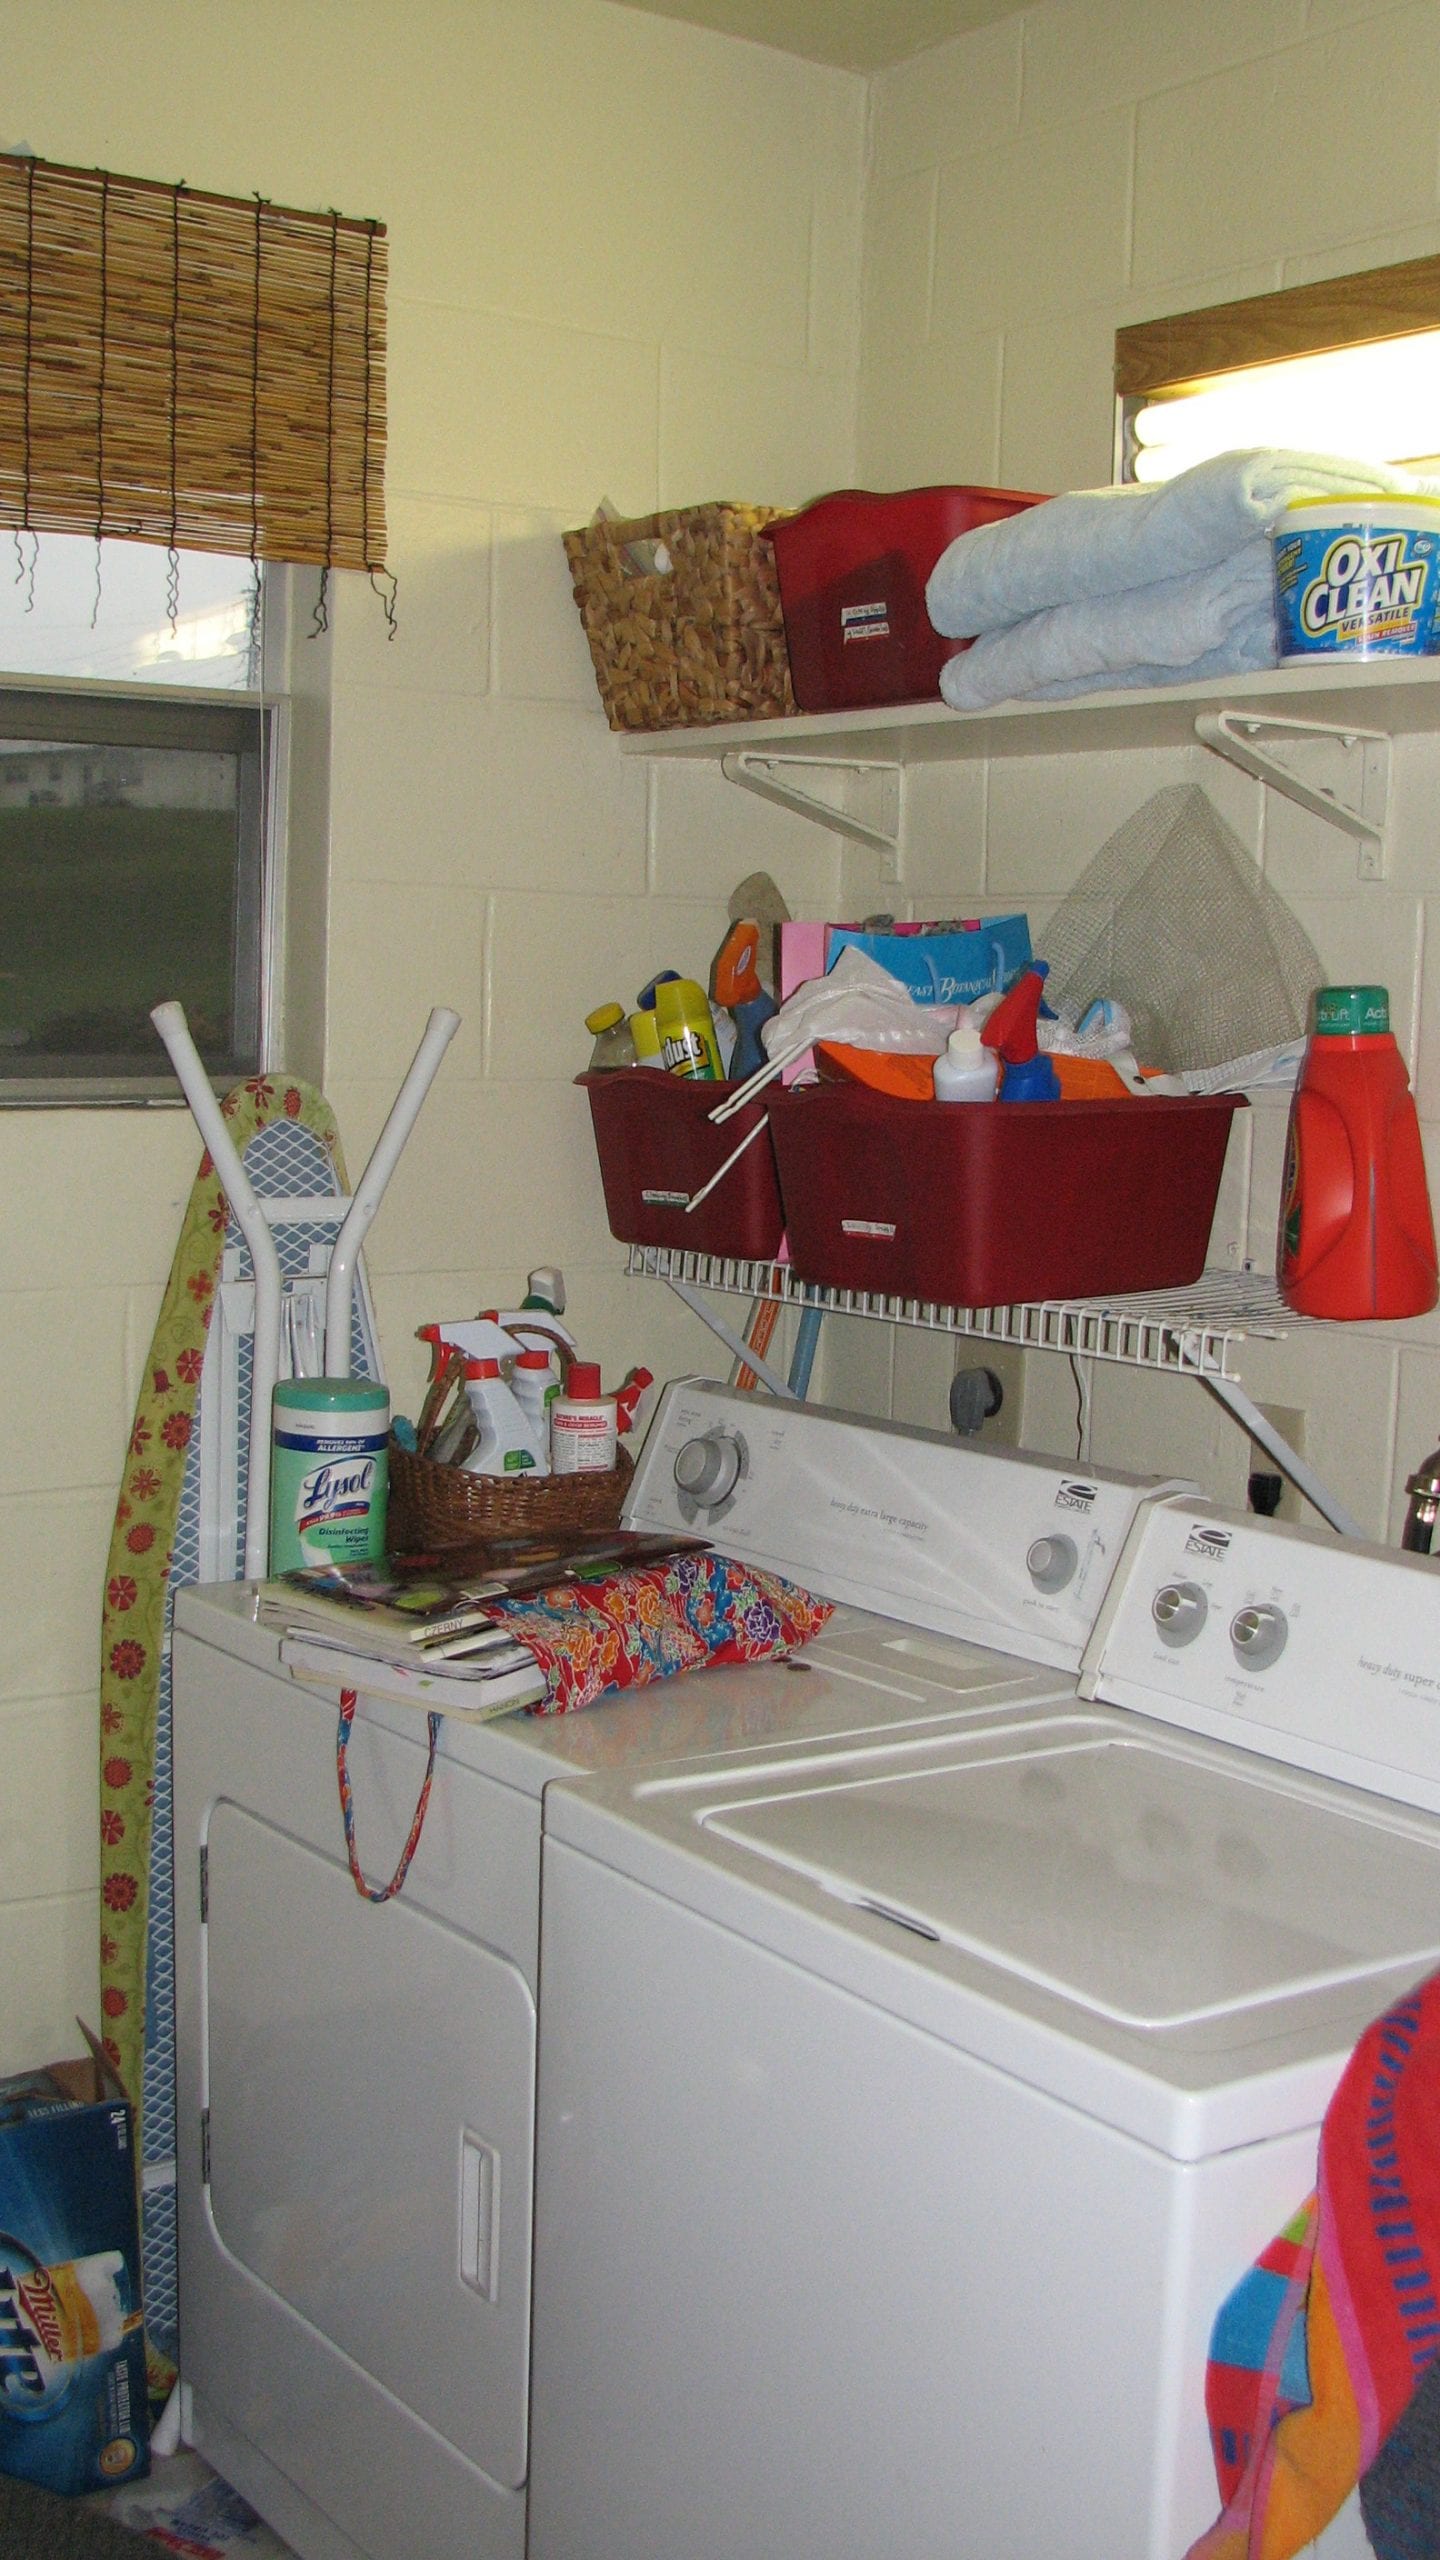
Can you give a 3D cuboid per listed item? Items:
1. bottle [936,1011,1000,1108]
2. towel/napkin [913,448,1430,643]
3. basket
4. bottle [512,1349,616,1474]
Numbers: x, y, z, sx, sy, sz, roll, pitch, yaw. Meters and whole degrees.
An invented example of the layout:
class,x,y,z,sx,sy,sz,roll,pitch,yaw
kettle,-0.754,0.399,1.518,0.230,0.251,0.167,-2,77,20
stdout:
class,x,y,z,sx,sy,sz,roll,pitch,yaw
bottle,0.198,-0.179,1.478,0.051,0.064,0.106,2,10,7
towel/napkin,0.298,-0.549,1.361,0.192,0.063,0.195,-24,20,-27
basket,-0.206,0.147,1.760,0.173,0.093,0.215,4,-1,-34
bottle,-0.158,0.131,1.818,0.092,0.137,0.045,-4,-7,27
